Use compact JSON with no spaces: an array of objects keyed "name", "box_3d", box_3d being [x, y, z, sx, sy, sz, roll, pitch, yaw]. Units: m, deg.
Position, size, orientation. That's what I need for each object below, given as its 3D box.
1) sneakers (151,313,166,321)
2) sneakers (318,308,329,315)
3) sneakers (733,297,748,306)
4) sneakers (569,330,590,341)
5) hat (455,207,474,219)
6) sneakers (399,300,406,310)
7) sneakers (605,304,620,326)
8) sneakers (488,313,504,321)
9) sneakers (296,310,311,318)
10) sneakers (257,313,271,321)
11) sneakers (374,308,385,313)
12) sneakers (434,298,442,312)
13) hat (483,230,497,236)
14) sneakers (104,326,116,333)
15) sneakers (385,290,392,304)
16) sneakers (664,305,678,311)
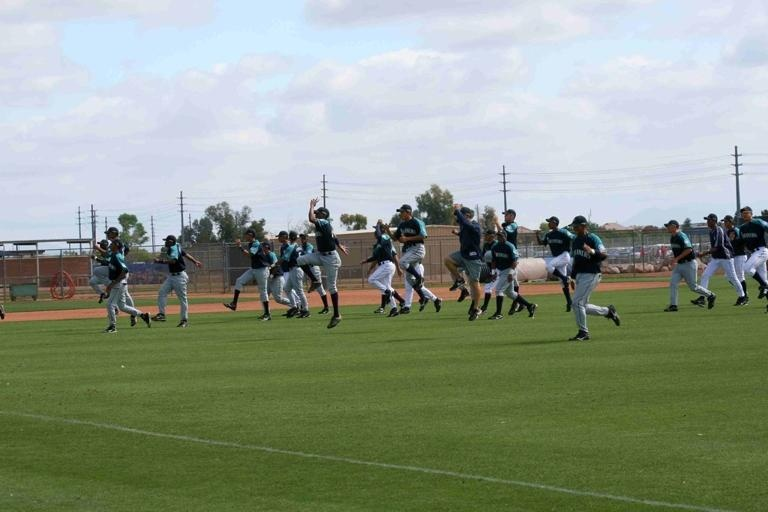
[{"name":"sneakers","box_3d":[-5.102,1.397,22.088,0.414,0.148,0.162,2,4,34]},{"name":"sneakers","box_3d":[-1.527,1.367,23.993,0.314,0.161,0.099,0,-2,6]},{"name":"sneakers","box_3d":[7.951,1.022,21.994,0.284,0.172,0.428,-3,-2,16]},{"name":"sneakers","box_3d":[3.235,1.337,16.461,0.387,0.137,0.141,0,-1,13]},{"name":"hat","box_3d":[1.621,-0.887,20.516,0.212,0.163,0.477,-3,-2,33]},{"name":"sneakers","box_3d":[0.420,1.182,23.263,0.127,0.132,0.150,-1,-11,4]},{"name":"sneakers","box_3d":[4.280,1.141,18.536,0.161,0.209,0.454,22,-24,48]},{"name":"sneakers","box_3d":[2.332,1.310,20.619,0.322,0.111,0.108,0,0,23]},{"name":"sneakers","box_3d":[-1.898,1.370,23.052,0.127,0.132,0.364,-3,2,-43]},{"name":"sneakers","box_3d":[-2.786,1.412,22.486,0.348,0.129,0.119,1,0,21]},{"name":"sneakers","box_3d":[-0.154,1.344,23.837,0.100,0.103,0.278,0,1,-36]},{"name":"sneakers","box_3d":[1.194,1.144,22.780,0.154,0.372,0.180,-6,-15,13]},{"name":"hat","box_3d":[2.421,-0.523,22.645,0.192,0.083,0.268,-2,-4,34]},{"name":"sneakers","box_3d":[-5.599,1.506,20.084,0.212,0.116,0.447,-2,-1,-16]},{"name":"sneakers","box_3d":[0.069,0.965,22.851,0.145,0.314,0.152,-2,-8,8]},{"name":"sneakers","box_3d":[6.168,1.141,21.230,0.275,0.098,0.412,-2,-2,13]}]
